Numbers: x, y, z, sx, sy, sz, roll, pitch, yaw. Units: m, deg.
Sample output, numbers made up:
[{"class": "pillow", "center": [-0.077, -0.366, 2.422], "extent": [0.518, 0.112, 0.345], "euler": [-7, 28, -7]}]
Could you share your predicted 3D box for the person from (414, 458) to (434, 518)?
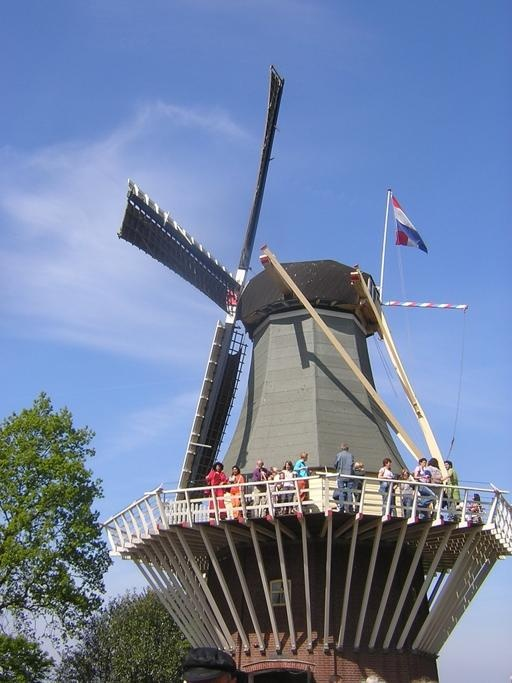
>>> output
[{"class": "person", "center": [3.396, 2.915, 17.741], "extent": [0.457, 1.236, 0.408], "euler": [-7, -23, 11]}]

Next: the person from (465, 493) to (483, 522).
[{"class": "person", "center": [4.366, 3.354, 17.787], "extent": [0.307, 0.701, 1.000], "euler": [2, -18, 14]}]

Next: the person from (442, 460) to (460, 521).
[{"class": "person", "center": [3.918, 2.926, 17.807], "extent": [0.339, 1.295, 1.973], "euler": [3, -18, 12]}]

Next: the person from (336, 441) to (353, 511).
[{"class": "person", "center": [1.710, 2.674, 17.480], "extent": [0.390, 1.355, 0.359], "euler": [7, -17, -17]}]
